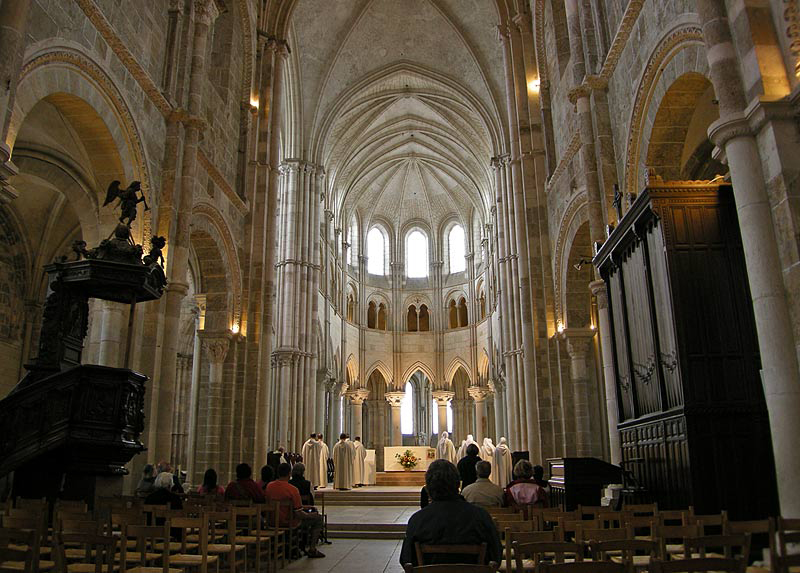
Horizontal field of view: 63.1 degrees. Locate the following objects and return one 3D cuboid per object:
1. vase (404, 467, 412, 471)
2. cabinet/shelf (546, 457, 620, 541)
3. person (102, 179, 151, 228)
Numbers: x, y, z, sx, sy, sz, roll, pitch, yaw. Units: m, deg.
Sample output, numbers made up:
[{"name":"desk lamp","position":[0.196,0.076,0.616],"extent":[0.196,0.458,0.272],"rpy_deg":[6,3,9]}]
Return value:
[{"name":"vase","position":[0.434,9.883,35.062],"extent":[0.279,0.200,0.183],"rpy_deg":[0,-19,-2]},{"name":"cabinet/shelf","position":[3.511,3.741,12.381],"extent":[1.271,1.759,1.774],"rpy_deg":[2,-13,-10]},{"name":"person","position":[-5.835,-1.743,14.050],"extent":[0.764,1.079,0.578],"rpy_deg":[-7,-16,-15]}]
